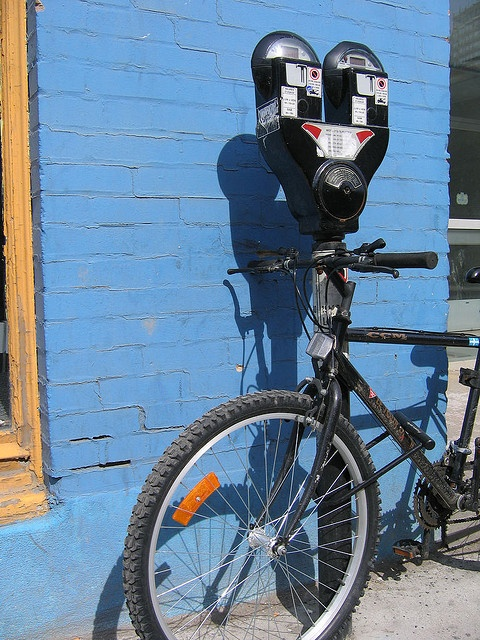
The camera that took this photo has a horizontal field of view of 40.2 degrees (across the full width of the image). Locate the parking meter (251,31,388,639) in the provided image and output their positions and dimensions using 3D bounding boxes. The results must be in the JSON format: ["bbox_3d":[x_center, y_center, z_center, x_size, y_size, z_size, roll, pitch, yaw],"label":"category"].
[{"bbox_3d":[0.249,0.035,2.099,0.452,1.844,0.624,1,10,3],"label":"parking meter"}]
